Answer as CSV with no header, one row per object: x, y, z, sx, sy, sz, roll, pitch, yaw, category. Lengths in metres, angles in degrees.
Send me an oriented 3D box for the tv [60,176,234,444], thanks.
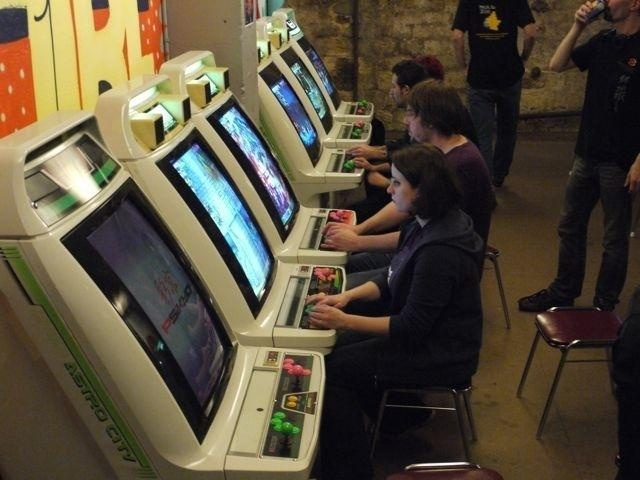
-0.509,0.219,1.562,0.316,0.643,0.473,-16,34,11,tv

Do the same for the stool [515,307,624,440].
1.439,0.719,2.896,0.605,0.514,0.518,0,10,29,stool
